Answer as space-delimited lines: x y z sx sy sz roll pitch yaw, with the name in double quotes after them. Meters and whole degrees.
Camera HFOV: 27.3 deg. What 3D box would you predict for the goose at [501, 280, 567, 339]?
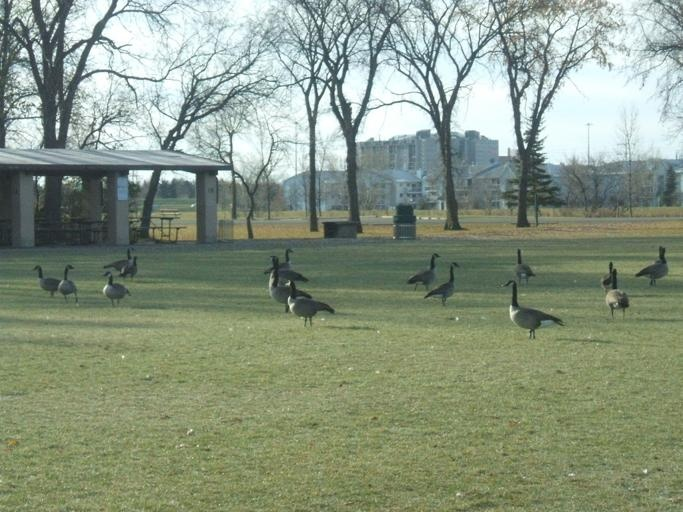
6.037 1.770 43.944 1.754 1.883 1.684 1 6 -16 "goose"
